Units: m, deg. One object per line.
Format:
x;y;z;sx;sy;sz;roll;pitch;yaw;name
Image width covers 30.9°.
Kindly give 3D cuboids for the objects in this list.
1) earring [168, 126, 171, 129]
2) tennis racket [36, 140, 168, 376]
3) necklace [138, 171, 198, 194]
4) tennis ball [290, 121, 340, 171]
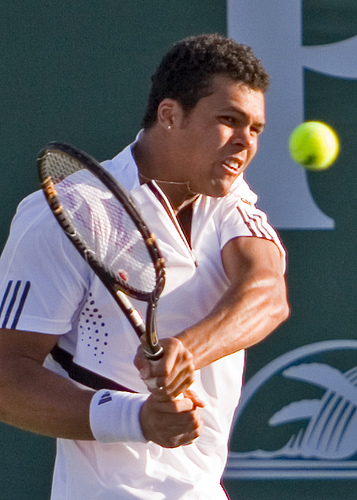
-0.028;-0.386;2.048;0.013;0.008;0.005;5;26;44;earring
-0.160;-0.007;1.653;0.222;0.561;0.447;-19;19;-15;tennis racket
-0.036;-0.216;2.058;0.088;0.056;0.123;13;19;41;necklace
0.689;-0.516;3.239;0.247;0.251;0.126;-23;21;-30;tennis ball
